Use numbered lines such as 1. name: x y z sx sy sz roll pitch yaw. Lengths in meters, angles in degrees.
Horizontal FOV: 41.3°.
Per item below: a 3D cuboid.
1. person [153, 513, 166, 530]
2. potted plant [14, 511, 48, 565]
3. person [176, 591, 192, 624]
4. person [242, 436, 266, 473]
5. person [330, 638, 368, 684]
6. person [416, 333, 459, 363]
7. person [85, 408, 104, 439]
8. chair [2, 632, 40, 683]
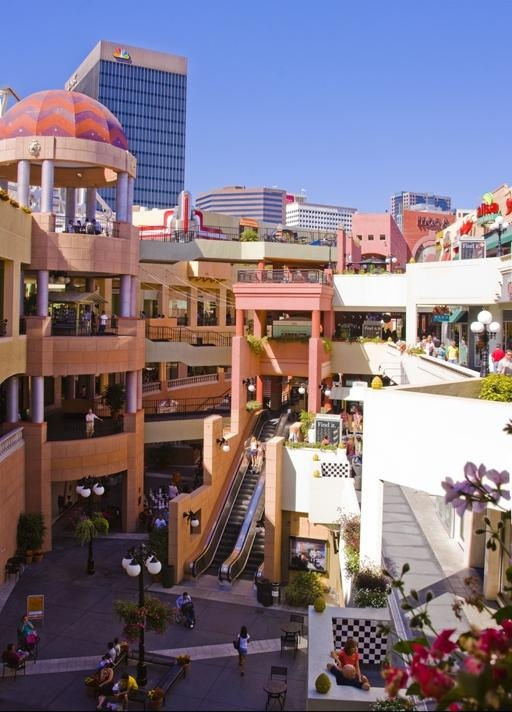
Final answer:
1. person: -3.576 6.192 25.212 0.512 0.558 1.312 4 1 -8
2. potted plant: -8.177 6.538 24.248 0.705 1.756 1.514 3 0 13
3. person: -2.126 7.425 20.317 0.421 0.563 0.950 -6 30 -9
4. person: -0.115 4.367 30.176 1.063 2.344 1.209 0 -4 2
5. person: 1.542 5.273 11.635 0.701 0.543 1.218 12 -22 4
6. person: 7.736 -0.388 28.664 0.704 0.677 2.174 -12 23 -5
7. person: -7.383 3.003 30.722 0.629 1.893 1.036 -4 -3 35
8. chair: -5.960 7.371 16.794 0.419 0.899 1.389 1 -2 7
